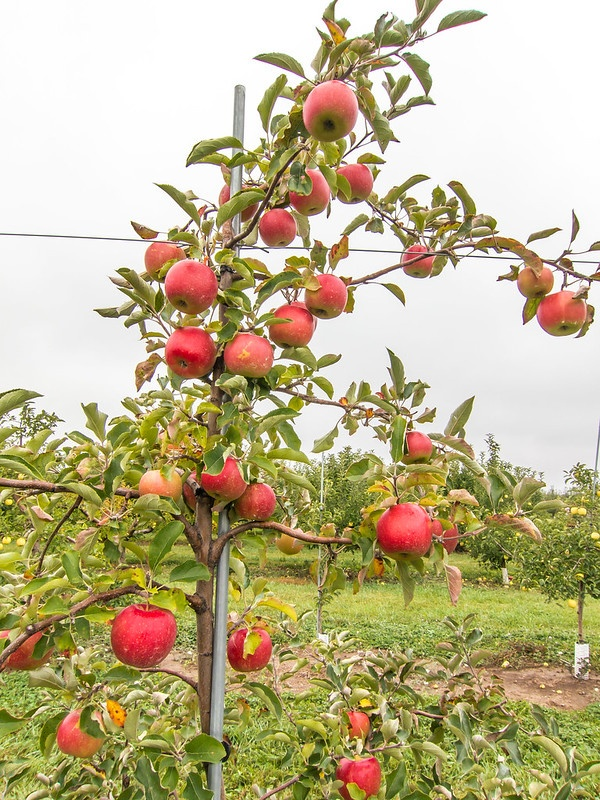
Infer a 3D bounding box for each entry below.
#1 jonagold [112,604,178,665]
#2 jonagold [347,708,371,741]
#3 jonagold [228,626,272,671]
[{"bbox_3d":[-0.418,0.634,1.961,0.169,0.142,0.160,10,3,-21],"label":"jonagold"},{"bbox_3d":[0.199,1.096,2.478,0.083,0.087,0.078,1,-4,4],"label":"jonagold"},{"bbox_3d":[-0.181,0.800,2.409,0.170,0.142,0.161,3,-5,-8],"label":"jonagold"}]
